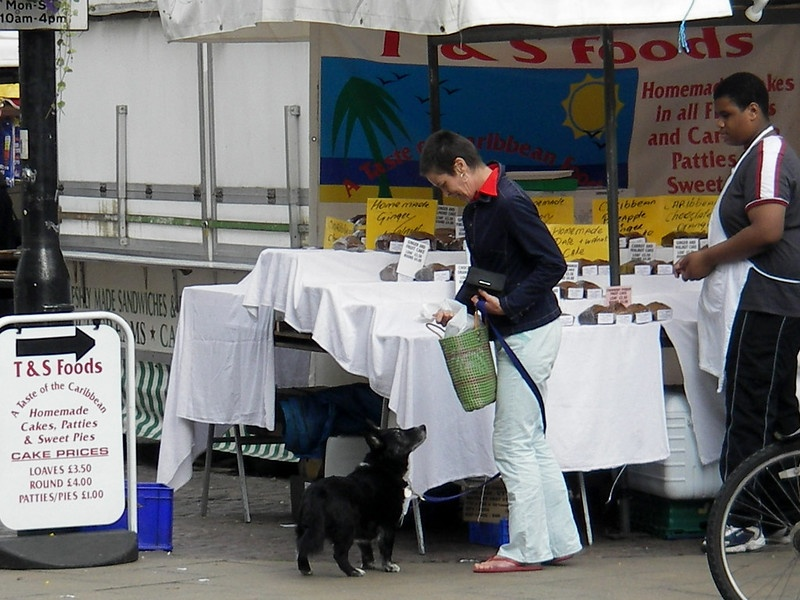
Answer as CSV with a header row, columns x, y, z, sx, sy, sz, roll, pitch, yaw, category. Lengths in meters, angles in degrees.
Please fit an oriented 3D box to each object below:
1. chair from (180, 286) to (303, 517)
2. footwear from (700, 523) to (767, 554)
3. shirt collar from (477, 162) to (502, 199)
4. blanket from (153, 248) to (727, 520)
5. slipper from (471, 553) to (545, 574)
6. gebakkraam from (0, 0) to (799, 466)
x,y,z,sx,sy,sz,roll,pitch,yaw,category
-1.240,0.430,12.005,0.700,0.867,0.665,22,6,0,chair
1.783,1.286,9.465,0.423,0.183,0.140,3,-5,-34,footwear
0.515,-0.704,10.293,0.095,0.188,0.140,3,4,-3,shirt collar
-0.264,0.475,11.326,1.892,0.702,2.017,13,-8,13,blanket
0.612,1.537,10.380,0.387,0.107,0.146,2,-5,1,slipper
-0.139,-0.907,14.324,4.195,2.667,4.149,0,0,-29,gebakkraam
